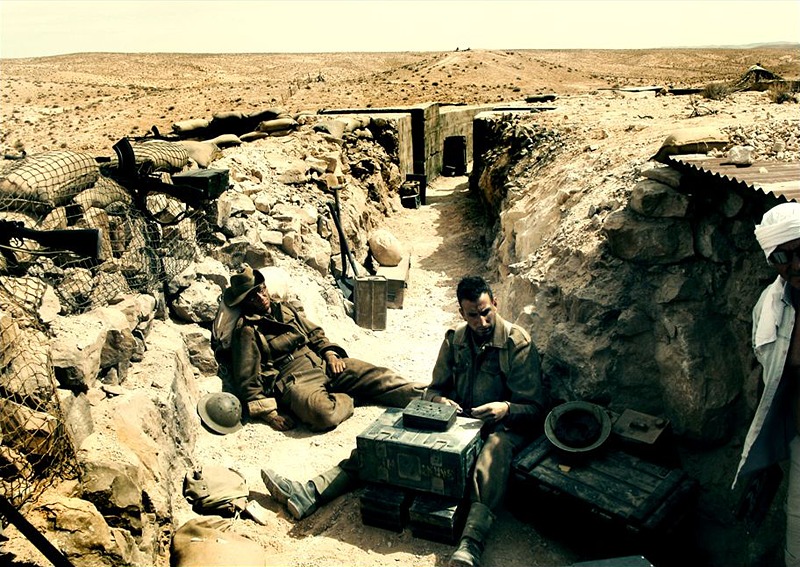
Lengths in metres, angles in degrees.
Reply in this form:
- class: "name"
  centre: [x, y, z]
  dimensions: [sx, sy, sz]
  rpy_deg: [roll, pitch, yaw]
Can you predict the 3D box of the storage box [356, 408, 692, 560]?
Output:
- class: "storage box"
  centre: [1.017, 1.718, 6.672]
  dimensions: [2.040, 0.640, 1.561]
  rpy_deg: [7, 13, 19]
